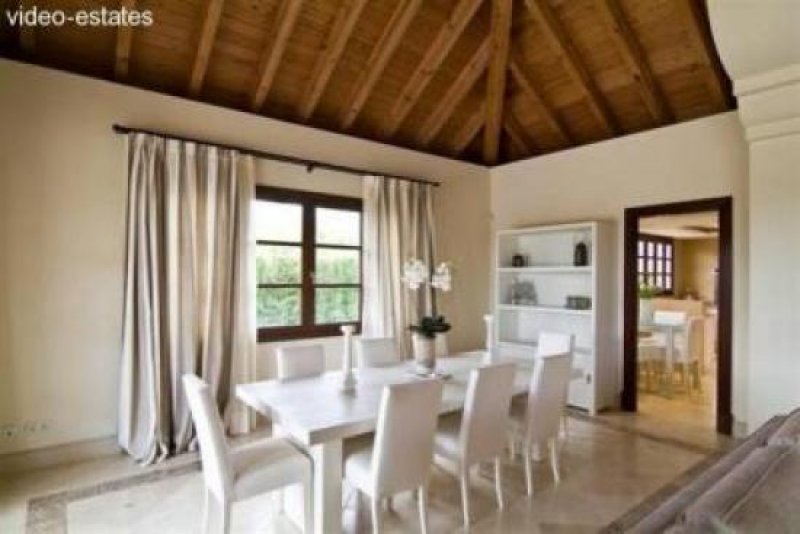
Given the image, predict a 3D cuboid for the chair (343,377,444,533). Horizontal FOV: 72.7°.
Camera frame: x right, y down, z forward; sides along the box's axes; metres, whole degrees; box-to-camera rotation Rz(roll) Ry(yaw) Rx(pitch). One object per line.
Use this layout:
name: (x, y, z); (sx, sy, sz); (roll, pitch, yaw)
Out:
chair: (-0.038, 1.533, 4.356); (0.781, 1.062, 0.382); (-2, -1, 1)

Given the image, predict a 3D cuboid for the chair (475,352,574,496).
chair: (1.224, 1.442, 5.347); (0.760, 1.280, 0.648); (4, 3, 44)

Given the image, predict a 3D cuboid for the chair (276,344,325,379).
chair: (-0.938, 0.897, 5.291); (0.318, 0.478, 0.372); (2, -5, -23)

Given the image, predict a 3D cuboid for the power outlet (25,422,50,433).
power outlet: (-3.513, 1.562, 5.302); (0.192, 0.105, 0.019); (-1, -1, -23)

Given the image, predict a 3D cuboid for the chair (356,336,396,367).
chair: (-0.258, 0.868, 5.706); (0.311, 0.325, 0.303); (0, -4, -22)
